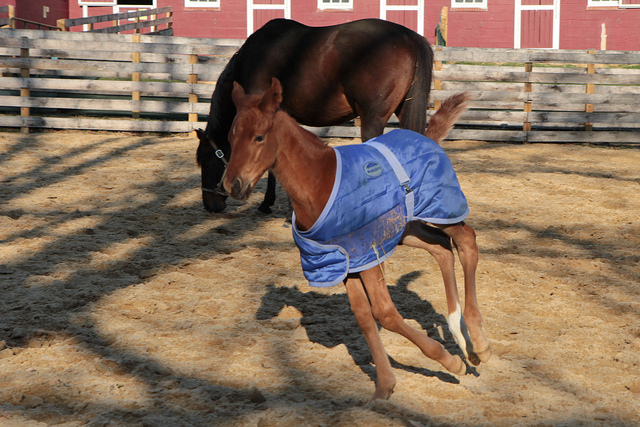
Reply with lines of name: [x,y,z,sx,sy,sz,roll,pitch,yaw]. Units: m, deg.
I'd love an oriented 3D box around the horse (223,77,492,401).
horse: [0.345,0.206,5.188,2.318,2.670,1.269,2,16,-7]

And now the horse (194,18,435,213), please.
horse: [0.020,-1.450,8.476,4.497,2.253,1.360,12,14,40]
